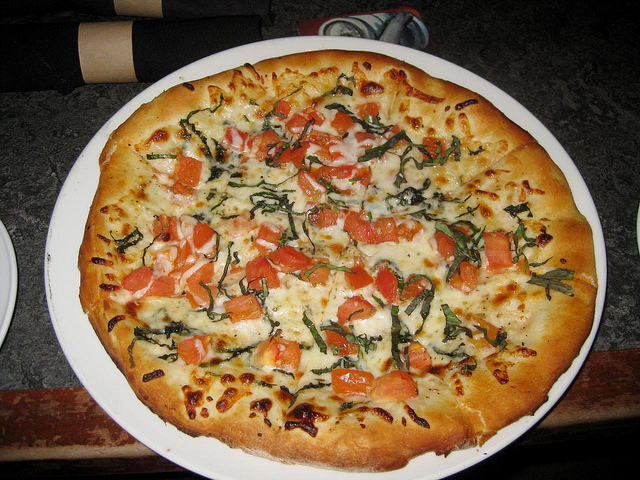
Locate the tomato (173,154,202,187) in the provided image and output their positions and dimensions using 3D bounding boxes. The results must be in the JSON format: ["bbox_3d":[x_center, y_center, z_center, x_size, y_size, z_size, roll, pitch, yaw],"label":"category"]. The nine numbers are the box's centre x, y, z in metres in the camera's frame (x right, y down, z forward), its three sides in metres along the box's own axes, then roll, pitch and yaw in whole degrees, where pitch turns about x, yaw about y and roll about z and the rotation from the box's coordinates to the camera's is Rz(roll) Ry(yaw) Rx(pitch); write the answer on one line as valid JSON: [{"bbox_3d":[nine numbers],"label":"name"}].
[{"bbox_3d":[-0.924,-0.479,4.496,0.227,0.062,0.189,17,84,9],"label":"tomato"}]

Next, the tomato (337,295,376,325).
[{"bbox_3d":[0.255,0.425,4.284,0.280,0.327,0.097,4,82,-2],"label":"tomato"}]

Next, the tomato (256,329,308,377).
[{"bbox_3d":[-0.237,0.735,4.143,0.359,0.084,0.197,24,85,3],"label":"tomato"}]

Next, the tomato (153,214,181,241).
[{"bbox_3d":[-1.029,-0.074,4.268,0.162,0.048,0.168,-6,77,-1],"label":"tomato"}]

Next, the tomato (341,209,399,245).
[{"bbox_3d":[0.334,-0.074,4.302,0.311,0.095,0.180,23,83,11],"label":"tomato"}]

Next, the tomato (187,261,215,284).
[{"bbox_3d":[-0.760,0.228,4.240,0.118,0.062,0.197,41,85,4],"label":"tomato"}]

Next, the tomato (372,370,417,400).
[{"bbox_3d":[0.470,0.912,4.064,0.279,0.133,0.176,2,84,0],"label":"tomato"}]

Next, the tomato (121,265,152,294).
[{"bbox_3d":[-1.196,0.261,4.217,0.203,0.060,0.144,-33,85,-3],"label":"tomato"}]

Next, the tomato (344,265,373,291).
[{"bbox_3d":[0.242,0.246,4.264,0.159,0.058,0.151,-31,85,-3],"label":"tomato"}]

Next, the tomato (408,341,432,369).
[{"bbox_3d":[0.633,0.743,4.174,0.141,0.043,0.177,-14,84,-1],"label":"tomato"}]

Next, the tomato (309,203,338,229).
[{"bbox_3d":[0.015,-0.165,4.388,0.201,0.058,0.160,-4,85,1],"label":"tomato"}]

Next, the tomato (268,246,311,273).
[{"bbox_3d":[-0.208,0.114,4.244,0.211,0.087,0.214,23,48,14],"label":"tomato"}]

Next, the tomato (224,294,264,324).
[{"bbox_3d":[-0.497,0.444,4.187,0.226,0.052,0.163,-15,84,-2],"label":"tomato"}]

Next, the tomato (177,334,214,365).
[{"bbox_3d":[-0.823,0.668,4.081,0.073,0.258,0.211,6,77,44],"label":"tomato"}]

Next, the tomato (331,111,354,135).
[{"bbox_3d":[0.155,-0.833,4.566,0.163,0.050,0.144,29,82,10],"label":"tomato"}]

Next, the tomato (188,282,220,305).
[{"bbox_3d":[-0.768,0.321,4.206,0.203,0.063,0.125,39,85,4],"label":"tomato"}]
